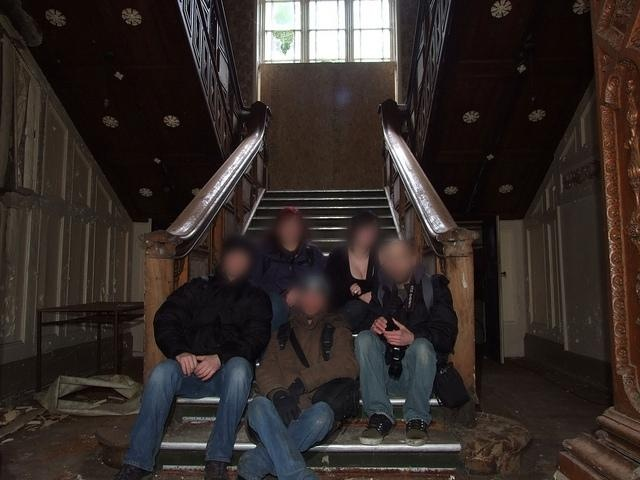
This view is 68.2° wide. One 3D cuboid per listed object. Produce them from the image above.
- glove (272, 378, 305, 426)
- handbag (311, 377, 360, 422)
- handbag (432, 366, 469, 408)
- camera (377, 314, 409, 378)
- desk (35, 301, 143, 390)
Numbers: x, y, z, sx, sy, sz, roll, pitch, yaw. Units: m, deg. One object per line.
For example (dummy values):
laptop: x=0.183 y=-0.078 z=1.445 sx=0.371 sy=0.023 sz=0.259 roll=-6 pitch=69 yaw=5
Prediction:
glove: x=-0.174 y=0.897 z=2.617 sx=0.116 sy=0.057 sz=0.210 roll=-34 pitch=40 yaw=0
handbag: x=0.085 y=0.933 z=2.724 sx=0.278 sy=0.267 sz=0.141 roll=4 pitch=-5 yaw=-29
handbag: x=0.769 y=0.883 z=2.818 sx=0.178 sy=0.264 sz=0.134 roll=-14 pitch=-22 yaw=-12
camera: x=0.457 y=0.645 z=2.953 sx=0.096 sy=0.403 sz=0.102 roll=5 pitch=7 yaw=12
desk: x=-2.437 y=1.029 z=4.667 sx=0.598 sy=0.763 sz=1.028 roll=-1 pitch=-7 yaw=-27
